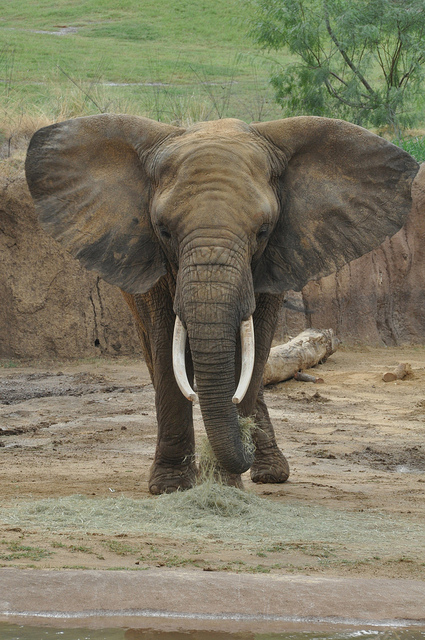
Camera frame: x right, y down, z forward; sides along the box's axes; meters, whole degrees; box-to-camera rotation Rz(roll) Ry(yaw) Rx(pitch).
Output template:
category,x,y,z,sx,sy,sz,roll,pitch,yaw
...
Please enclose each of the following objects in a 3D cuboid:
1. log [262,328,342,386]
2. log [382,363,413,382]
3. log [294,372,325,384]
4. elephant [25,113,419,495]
category,x,y,z,sx,sy,sz,roll,pitch,yaw
log,1.147,0.453,12.438,0.427,0.381,1.968,6,15,25
log,2.340,0.663,12.251,0.195,0.161,0.617,1,7,24
log,1.181,0.716,11.911,0.422,0.103,0.119,12,2,20
elephant,0.006,-0.362,5.725,2.970,2.395,1.662,-4,16,-6
